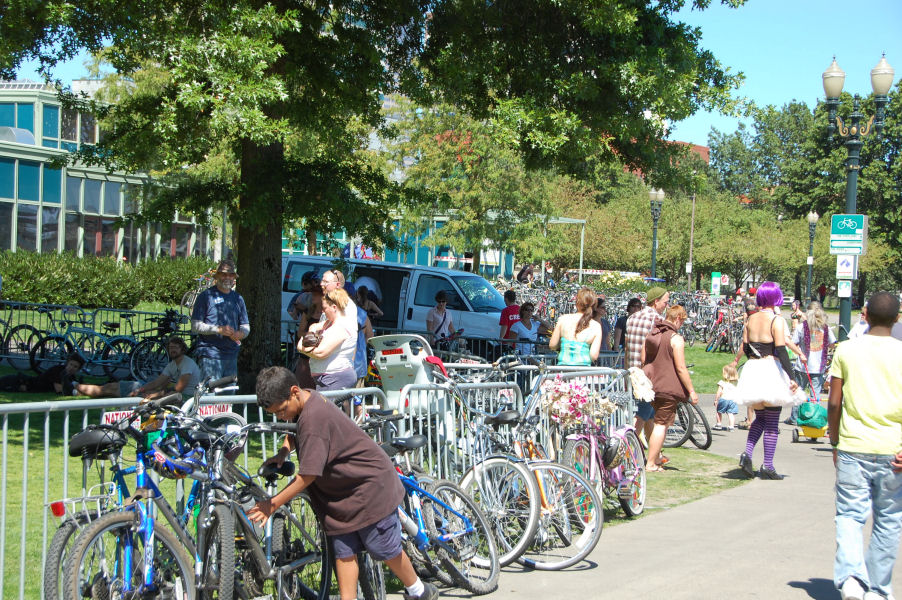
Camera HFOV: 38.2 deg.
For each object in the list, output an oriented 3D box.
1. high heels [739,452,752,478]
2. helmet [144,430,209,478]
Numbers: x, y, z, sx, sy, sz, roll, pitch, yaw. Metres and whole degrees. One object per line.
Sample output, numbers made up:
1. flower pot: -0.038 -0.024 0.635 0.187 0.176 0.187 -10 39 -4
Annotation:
1. high heels: 4.594 2.622 20.278 0.140 0.201 0.442 0 -26 25
2. helmet: -3.205 1.840 15.246 0.657 0.312 0.472 22 24 -31
